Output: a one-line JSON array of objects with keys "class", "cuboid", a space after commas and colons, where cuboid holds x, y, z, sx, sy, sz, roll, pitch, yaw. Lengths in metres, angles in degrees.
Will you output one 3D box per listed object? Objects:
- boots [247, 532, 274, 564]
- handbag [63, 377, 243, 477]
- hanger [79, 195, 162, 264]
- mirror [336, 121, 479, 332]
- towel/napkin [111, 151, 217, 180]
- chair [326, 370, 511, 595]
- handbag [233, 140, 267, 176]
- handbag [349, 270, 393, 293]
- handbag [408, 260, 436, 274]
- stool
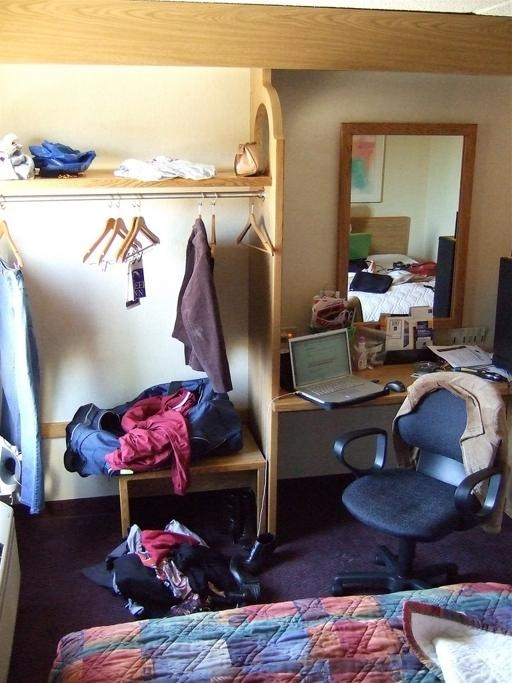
[{"class": "boots", "cuboid": [0.025, 0.914, 2.484, 0.144, 0.112, 0.057, -10, 12, -38]}, {"class": "handbag", "cuboid": [-0.480, 0.392, 2.635, 0.678, 0.251, 0.539, -3, 5, -19]}, {"class": "hanger", "cuboid": [-0.627, -0.517, 2.534, 0.146, 0.204, 0.289, 7, 30, 17]}, {"class": "mirror", "cuboid": [0.770, -0.567, 2.897, 0.735, 1.052, 0.133, -5, 10, -14]}, {"class": "towel/napkin", "cuboid": [-0.378, -0.722, 2.340, 0.407, 0.122, 0.176, -5, 9, -12]}, {"class": "chair", "cuboid": [0.623, 0.600, 2.159, 0.537, 0.935, 0.609, -10, 12, -34]}, {"class": "handbag", "cuboid": [-0.020, -0.810, 2.483, 0.091, 0.164, 0.208, -5, 25, 9]}, {"class": "handbag", "cuboid": [0.610, -0.318, 2.940, 0.172, 0.047, 0.122, 1, 18, 2]}, {"class": "handbag", "cuboid": [0.877, -0.397, 2.969, 0.110, 0.037, 0.081, -3, 13, -22]}, {"class": "stool", "cuboid": [-0.253, 0.796, 2.817, 0.703, 0.370, 0.527, -2, 7, -8]}]
